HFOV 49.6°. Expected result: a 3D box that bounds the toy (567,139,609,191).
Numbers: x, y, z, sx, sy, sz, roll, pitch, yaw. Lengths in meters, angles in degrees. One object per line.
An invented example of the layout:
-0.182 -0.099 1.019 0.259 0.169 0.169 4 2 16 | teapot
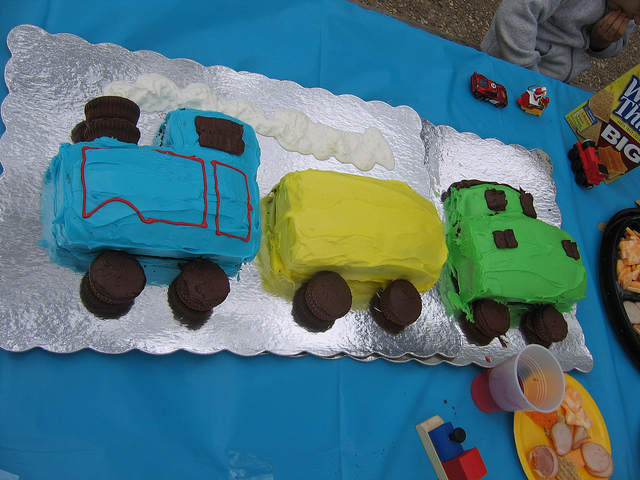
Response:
1.910 -0.550 4.930 0.158 0.174 0.319 3 65 -37 | toy

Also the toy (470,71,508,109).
1.200 -1.050 4.874 0.262 0.083 0.185 19 63 -25 | toy

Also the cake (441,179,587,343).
1.162 0.099 4.200 0.848 0.301 0.979 11 65 -15 | cake

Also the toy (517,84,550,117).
1.546 -1.027 4.990 0.245 0.192 0.176 17 46 36 | toy

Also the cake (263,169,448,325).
0.205 0.061 4.040 1.074 0.501 0.739 7 55 -15 | cake

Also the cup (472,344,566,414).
1.171 0.846 4.049 0.455 0.537 0.432 12 66 -29 | cup
